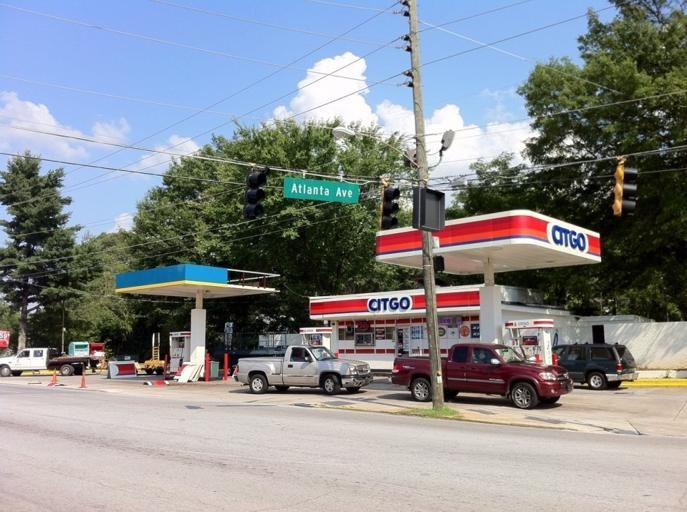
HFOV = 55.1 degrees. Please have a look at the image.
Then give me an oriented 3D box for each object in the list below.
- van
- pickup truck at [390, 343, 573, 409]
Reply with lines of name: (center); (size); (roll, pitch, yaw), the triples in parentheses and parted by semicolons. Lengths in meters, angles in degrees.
van: (11.115, 4.830, 29.881); (3.853, 1.680, 1.872); (1, -4, 35)
pickup truck: (5.251, 4.347, 25.186); (6.031, 1.999, 2.717); (-7, -9, 32)
